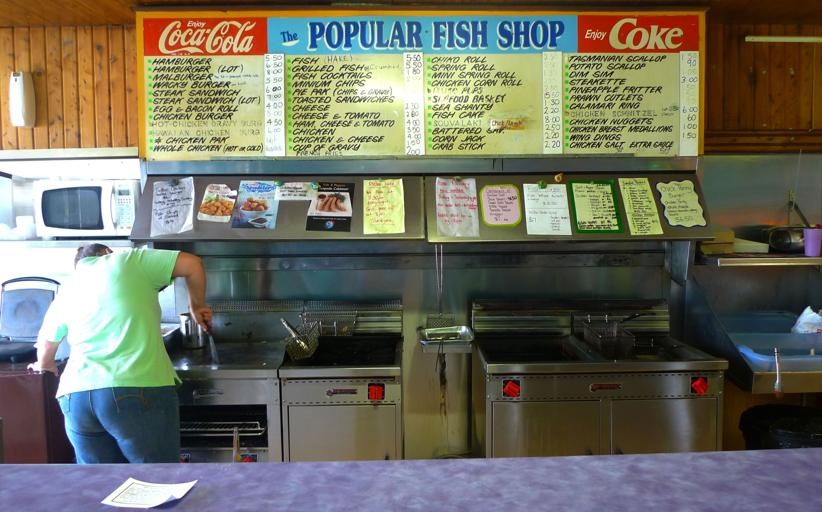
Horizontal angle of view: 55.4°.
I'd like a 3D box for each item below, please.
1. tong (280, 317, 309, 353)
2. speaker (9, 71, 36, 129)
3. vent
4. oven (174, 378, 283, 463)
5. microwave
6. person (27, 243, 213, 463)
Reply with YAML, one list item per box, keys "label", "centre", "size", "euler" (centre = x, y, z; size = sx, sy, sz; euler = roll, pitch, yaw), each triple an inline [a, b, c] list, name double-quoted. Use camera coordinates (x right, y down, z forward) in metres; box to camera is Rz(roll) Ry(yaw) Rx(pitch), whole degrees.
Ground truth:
- label: "tong"
  centre: [-0.870, 0.590, 5.876]
  size: [0.185, 0.236, 0.129]
  euler: [0, 5, 33]
- label: "speaker"
  centre: [-3.092, -1.233, 6.225]
  size: [0.212, 0.432, 0.091]
  euler: [-3, 4, 5]
- label: "vent"
  centre: [0.102, -0.365, 5.945]
  size: [4.252, 0.628, 0.216]
  euler: [-2, 4, 0]
- label: "oven"
  centre: [-1.305, 1.194, 5.997]
  size: [0.981, 0.762, 0.611]
  euler: [-1, -3, -3]
- label: "microwave"
  centre: [-2.515, -0.368, 6.088]
  size: [0.793, 0.424, 0.478]
  euler: [0, 2, -2]
- label: "person"
  centre: [-1.988, 0.678, 5.494]
  size: [1.134, 1.536, 0.462]
  euler: [-5, 5, -18]
